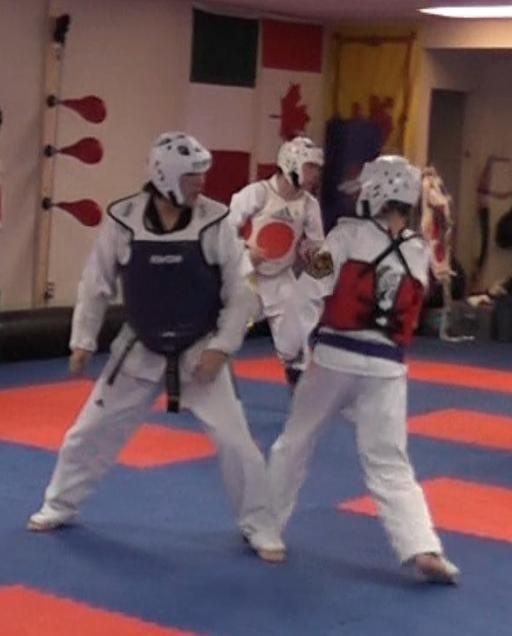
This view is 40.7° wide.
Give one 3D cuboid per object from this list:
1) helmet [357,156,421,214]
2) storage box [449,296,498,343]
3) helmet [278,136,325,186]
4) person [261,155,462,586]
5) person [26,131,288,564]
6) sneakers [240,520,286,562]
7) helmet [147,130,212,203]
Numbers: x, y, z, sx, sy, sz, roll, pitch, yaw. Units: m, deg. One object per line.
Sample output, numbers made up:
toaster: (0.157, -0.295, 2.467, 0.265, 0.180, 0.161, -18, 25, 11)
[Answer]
helmet: (0.326, -0.336, 1.792, 0.179, 0.141, 0.128, 10, 3, 11)
storage box: (1.944, 0.007, 6.085, 0.405, 0.353, 0.115, 10, -6, -2)
helmet: (0.176, -0.743, 3.315, 0.177, 0.146, 0.123, -15, 27, 5)
person: (0.305, 0.117, 1.754, 0.485, 1.065, 0.218, 5, 5, 23)
person: (-0.251, 0.066, 1.839, 0.720, 1.102, 0.230, 5, 5, 20)
sneakers: (0.019, 0.598, 1.864, 0.118, 0.081, 0.046, 40, 2, 22)
helmet: (-0.198, -0.383, 1.791, 0.138, 0.160, 0.181, -8, 33, -47)
